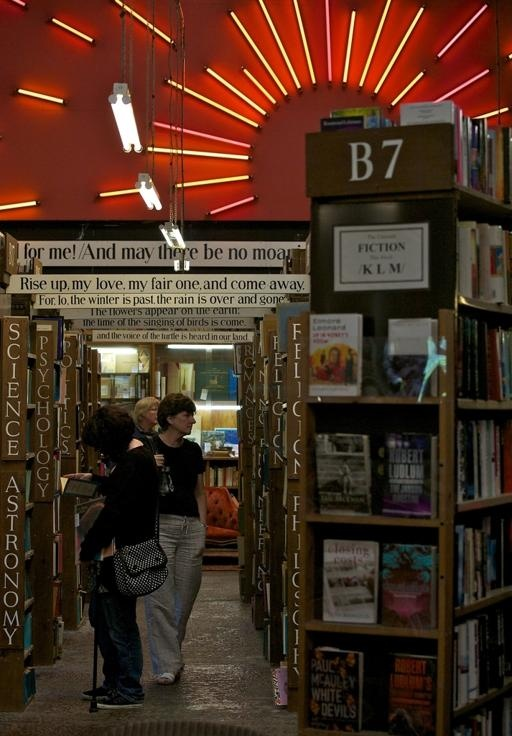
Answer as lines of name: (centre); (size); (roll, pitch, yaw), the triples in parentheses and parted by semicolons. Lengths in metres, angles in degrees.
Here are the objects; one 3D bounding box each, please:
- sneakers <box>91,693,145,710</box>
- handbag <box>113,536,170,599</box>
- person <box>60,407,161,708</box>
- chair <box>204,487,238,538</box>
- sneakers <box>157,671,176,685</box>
sneakers: (-0.689, 1.673, 4.104); (0.235, 0.106, 0.099); (3, -13, 10)
handbag: (-0.536, 0.941, 3.821); (0.254, 0.265, 0.114); (3, -8, -37)
person: (-0.666, 0.947, 4.004); (0.370, 1.478, 0.537); (-1, -7, -12)
chair: (-0.416, 1.775, 10.071); (0.539, 0.807, 0.644); (1, -8, -9)
sneakers: (-0.490, 1.735, 4.564); (0.139, 0.059, 0.057); (3, -6, -5)
